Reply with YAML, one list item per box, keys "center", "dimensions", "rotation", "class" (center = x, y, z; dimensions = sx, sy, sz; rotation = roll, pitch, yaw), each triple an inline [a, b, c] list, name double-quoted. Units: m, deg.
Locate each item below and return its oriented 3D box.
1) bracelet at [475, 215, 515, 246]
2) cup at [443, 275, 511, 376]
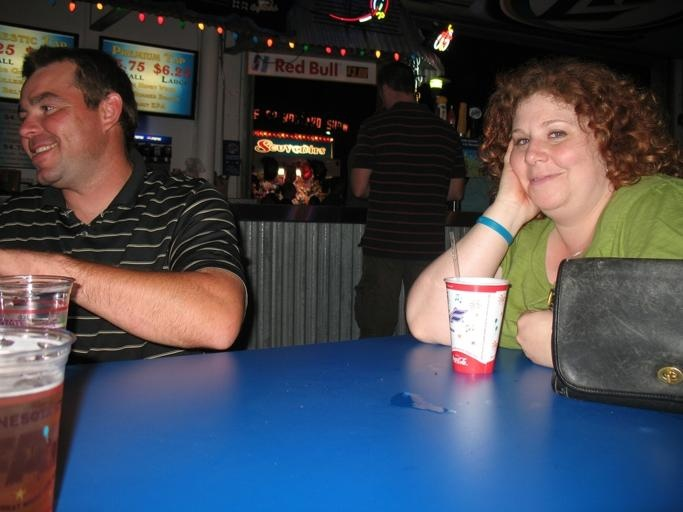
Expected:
- center: [0.442, -0.080, 1.656]
  dimensions: [0.095, 0.024, 0.092]
  rotation: [35, -3, -8]
  class: "bracelet"
- center: [0.297, 0.148, 1.381]
  dimensions: [0.202, 0.229, 0.208]
  rotation: [1, -1, 0]
  class: "cup"
